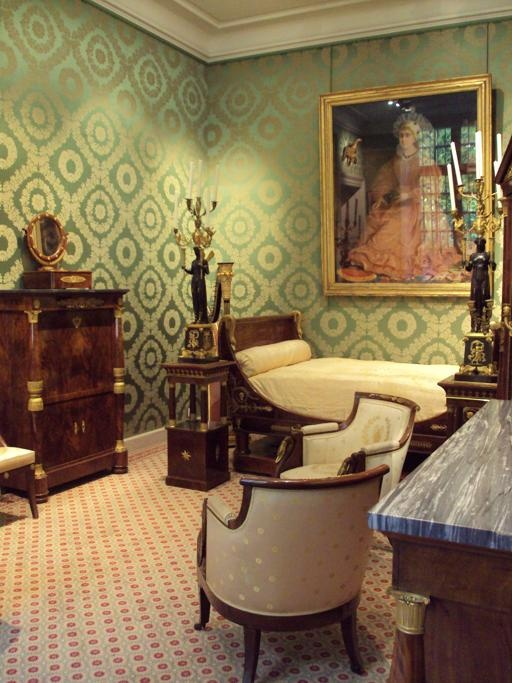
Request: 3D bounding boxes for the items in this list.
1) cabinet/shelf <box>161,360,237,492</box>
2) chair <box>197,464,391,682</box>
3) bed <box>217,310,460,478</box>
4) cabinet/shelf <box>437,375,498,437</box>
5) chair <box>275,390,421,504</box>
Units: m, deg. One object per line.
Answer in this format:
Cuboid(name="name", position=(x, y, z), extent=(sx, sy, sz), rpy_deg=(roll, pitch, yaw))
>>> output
Cuboid(name="cabinet/shelf", position=(-0.475, 0.657, 4.275), extent=(0.490, 0.998, 0.502), rpy_deg=(1, 3, 16))
Cuboid(name="chair", position=(0.107, 0.730, 2.107), extent=(0.674, 0.871, 0.857), rpy_deg=(0, 5, -19))
Cuboid(name="bed", position=(0.817, 0.377, 4.692), extent=(1.892, 1.152, 1.348), rpy_deg=(0, 6, 19))
Cuboid(name="cabinet/shelf", position=(1.405, 0.380, 3.582), extent=(0.425, 0.449, 0.360), rpy_deg=(2, 6, 28))
Cuboid(name="chair", position=(0.470, 0.530, 2.744), extent=(0.680, 0.698, 0.528), rpy_deg=(1, 2, -33))
